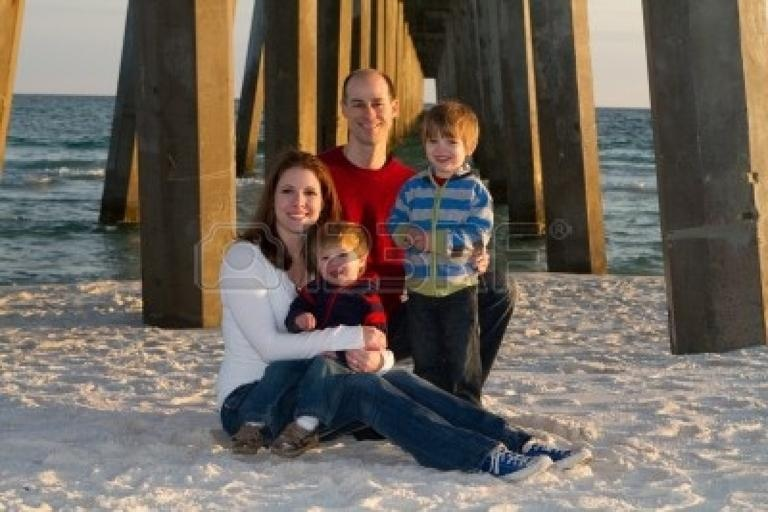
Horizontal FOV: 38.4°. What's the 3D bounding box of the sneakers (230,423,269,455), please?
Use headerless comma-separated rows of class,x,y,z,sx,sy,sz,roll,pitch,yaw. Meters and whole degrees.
sneakers,-1.033,1.385,8.546,0.222,0.234,0.093,-4,9,0

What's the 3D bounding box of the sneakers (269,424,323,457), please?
sneakers,-0.682,1.390,8.389,0.194,0.154,0.344,16,35,38
